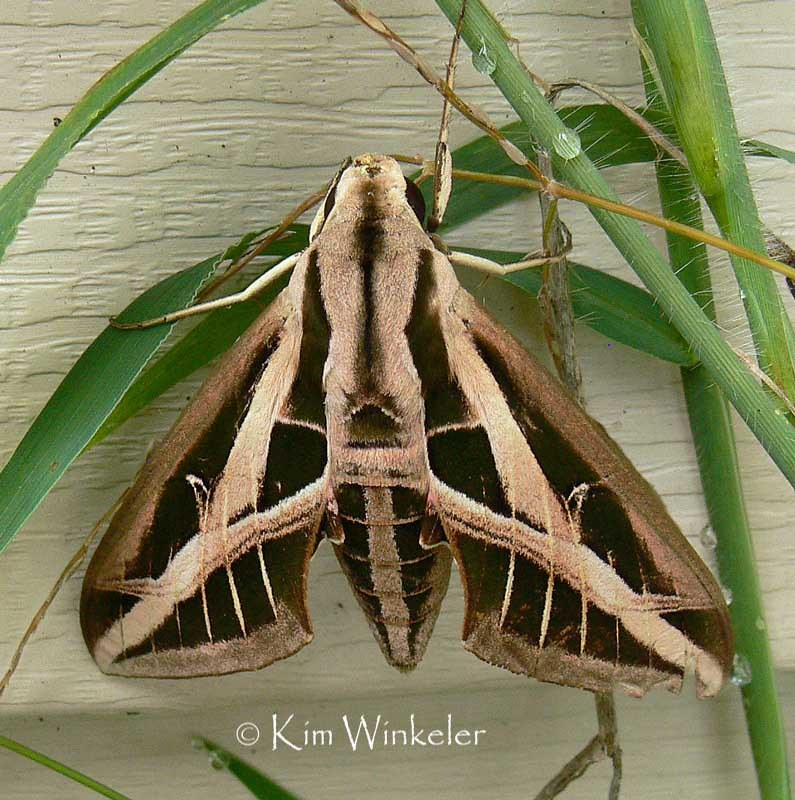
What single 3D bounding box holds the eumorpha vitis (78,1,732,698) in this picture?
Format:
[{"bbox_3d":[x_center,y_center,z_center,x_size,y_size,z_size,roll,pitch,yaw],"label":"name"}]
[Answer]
[{"bbox_3d":[-0.030,0.006,1.192,0.769,0.194,0.538,-4,99,7],"label":"eumorpha vitis"}]
